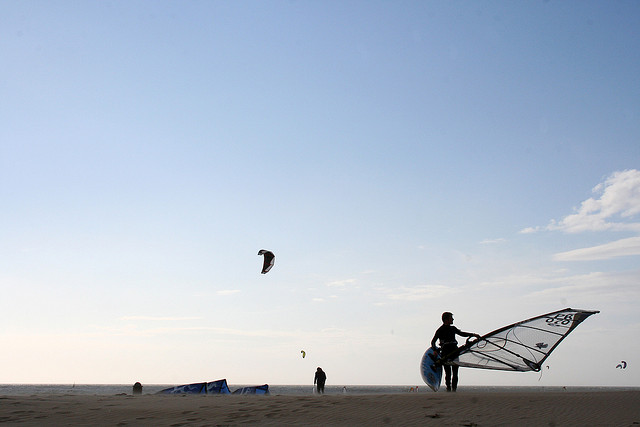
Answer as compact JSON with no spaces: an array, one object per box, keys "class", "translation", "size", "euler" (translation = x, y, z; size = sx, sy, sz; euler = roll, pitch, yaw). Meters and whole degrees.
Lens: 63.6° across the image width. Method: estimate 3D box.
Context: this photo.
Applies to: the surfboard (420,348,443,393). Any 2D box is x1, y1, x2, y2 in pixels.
[{"class":"surfboard","translation":[2.962,3.974,13.431],"size":[0.584,1.544,0.165],"euler":[-1,13,10]}]
